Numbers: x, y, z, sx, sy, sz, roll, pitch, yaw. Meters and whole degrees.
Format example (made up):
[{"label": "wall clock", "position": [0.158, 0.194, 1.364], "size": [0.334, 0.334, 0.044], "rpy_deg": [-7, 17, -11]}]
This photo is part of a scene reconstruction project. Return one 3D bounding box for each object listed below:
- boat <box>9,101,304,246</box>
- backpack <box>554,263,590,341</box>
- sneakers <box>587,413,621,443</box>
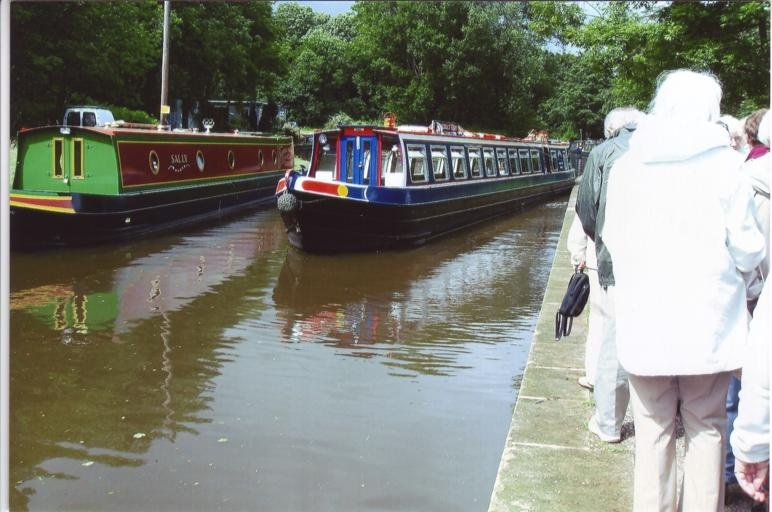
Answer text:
[{"label": "boat", "position": [-6.549, -2.589, 20.945], "size": [2.823, 3.128, 12.932], "rpy_deg": [3, 8, 11]}, {"label": "backpack", "position": [1.855, 0.494, 6.889], "size": [0.238, 0.762, 0.306], "rpy_deg": [27, 14, 26]}, {"label": "sneakers", "position": [1.696, 1.350, 5.391], "size": [0.137, 0.106, 0.313], "rpy_deg": [8, 40, -12]}]
